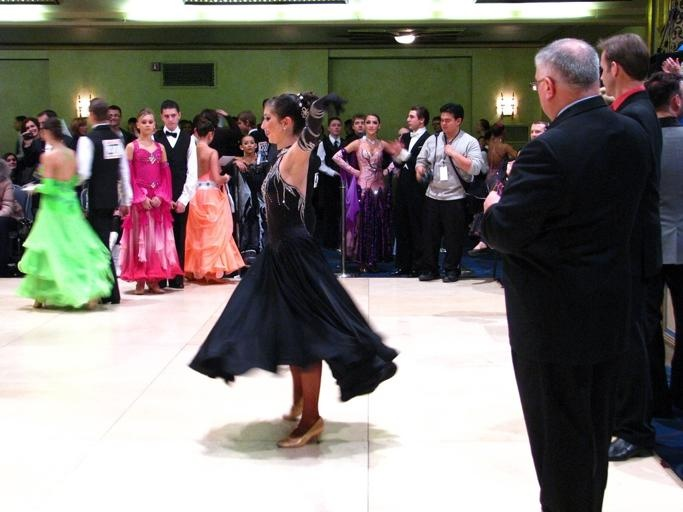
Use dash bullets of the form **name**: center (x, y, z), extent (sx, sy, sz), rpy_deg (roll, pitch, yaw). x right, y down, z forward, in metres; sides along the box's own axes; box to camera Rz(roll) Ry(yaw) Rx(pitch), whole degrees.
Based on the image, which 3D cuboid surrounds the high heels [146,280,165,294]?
- **high heels**: center (-2.044, 0.344, 6.593), extent (0.259, 0.149, 0.090), rpy_deg (-6, -4, 40)

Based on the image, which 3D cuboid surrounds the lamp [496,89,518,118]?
- **lamp**: center (3.329, -3.080, 12.184), extent (0.387, 0.507, 0.149), rpy_deg (-1, 10, 1)

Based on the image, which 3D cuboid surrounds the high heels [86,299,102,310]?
- **high heels**: center (-2.374, 0.455, 5.820), extent (0.093, 0.065, 0.167), rpy_deg (1, 5, 4)

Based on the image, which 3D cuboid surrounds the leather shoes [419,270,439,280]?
- **leather shoes**: center (1.045, 0.235, 7.270), extent (0.091, 0.102, 0.250), rpy_deg (-6, -8, 43)

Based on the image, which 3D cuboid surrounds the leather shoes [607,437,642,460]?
- **leather shoes**: center (1.325, 0.911, 2.823), extent (0.130, 0.087, 0.116), rpy_deg (5, 10, 30)

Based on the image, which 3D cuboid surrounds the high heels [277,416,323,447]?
- **high heels**: center (-0.179, 0.869, 3.070), extent (0.296, 0.149, 0.098), rpy_deg (-4, 1, -29)
